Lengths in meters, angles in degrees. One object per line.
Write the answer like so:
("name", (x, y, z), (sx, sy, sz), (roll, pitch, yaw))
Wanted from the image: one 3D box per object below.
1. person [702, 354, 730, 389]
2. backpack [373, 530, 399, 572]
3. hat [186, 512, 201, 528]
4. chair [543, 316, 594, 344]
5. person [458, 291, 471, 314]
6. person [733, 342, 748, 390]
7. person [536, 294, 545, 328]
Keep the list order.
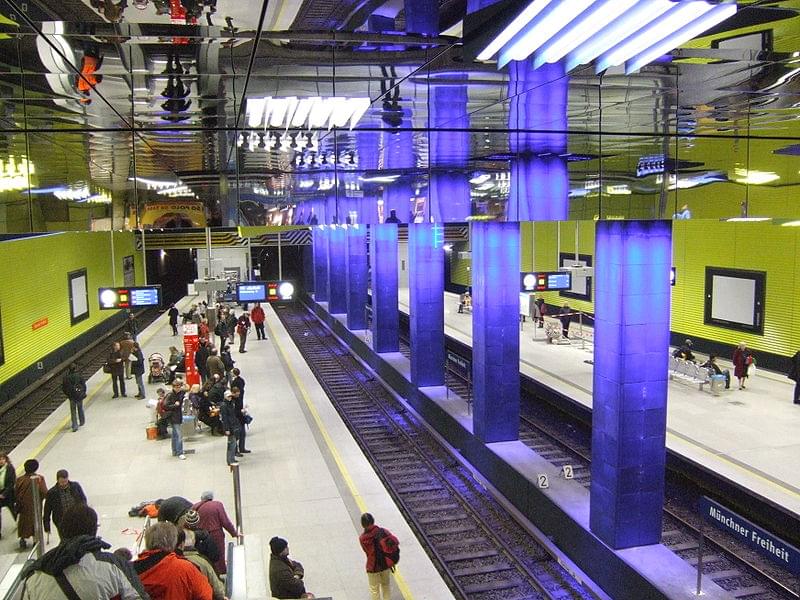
("person", (8.963, 2.024, 16.676), (0.724, 0.966, 0.780), (5, 11, 27))
("backpack", (-0.180, 3.230, 7.611), (0.311, 0.633, 0.229), (-1, 10, -5))
("hat", (-2.129, 2.253, 6.070), (0.139, 0.141, 0.152), (1, 9, -10))
("chair", (6.850, 1.284, 23.755), (1.917, 0.831, 1.299), (0, 2, -10))
("person", (3.213, 0.141, 30.195), (1.068, 0.908, 0.798), (-1, 1, 16))
("person", (9.877, 1.840, 16.968), (0.388, 1.315, 0.723), (6, 12, 31))
("person", (6.097, 0.591, 25.551), (0.343, 1.450, 1.219), (2, 10, 10))
